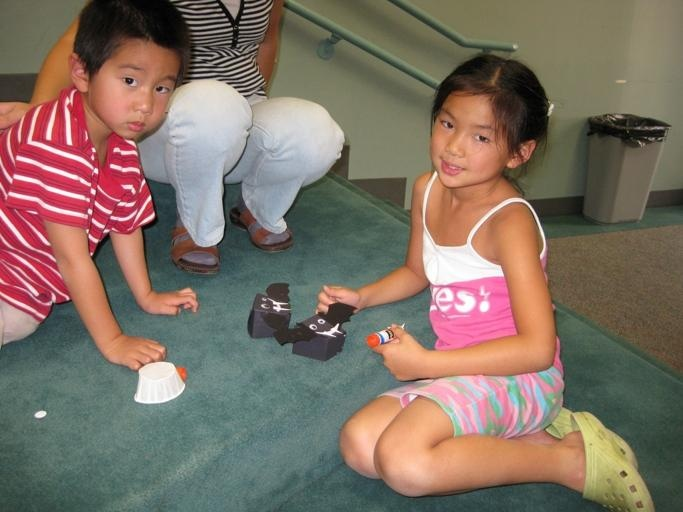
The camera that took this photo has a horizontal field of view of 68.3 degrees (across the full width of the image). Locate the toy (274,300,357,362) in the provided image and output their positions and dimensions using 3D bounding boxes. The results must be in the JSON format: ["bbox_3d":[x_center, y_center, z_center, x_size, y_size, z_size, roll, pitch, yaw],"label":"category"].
[{"bbox_3d":[-0.065,0.246,1.333,0.211,0.080,0.109,-29,47,-33],"label":"toy"}]

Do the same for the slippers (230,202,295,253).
[{"bbox_3d":[-0.285,-0.083,1.768,0.115,0.097,0.262,-32,61,-29],"label":"slippers"}]

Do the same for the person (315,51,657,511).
[{"bbox_3d":[0.346,0.046,1.734,0.987,1.483,0.832,3,1,-24],"label":"person"}]

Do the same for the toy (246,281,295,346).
[{"bbox_3d":[-0.189,0.187,1.420,0.102,0.197,0.188,12,37,3],"label":"toy"}]

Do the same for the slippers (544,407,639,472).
[{"bbox_3d":[0.592,0.475,1.211,0.251,0.092,0.092,-9,12,15],"label":"slippers"}]

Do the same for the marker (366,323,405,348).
[{"bbox_3d":[0.108,0.204,1.268,0.041,0.038,0.137,15,17,31],"label":"marker"}]

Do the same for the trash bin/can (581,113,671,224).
[{"bbox_3d":[2.097,-0.646,3.805,0.502,0.747,0.507,-1,22,-1],"label":"trash bin/can"}]
